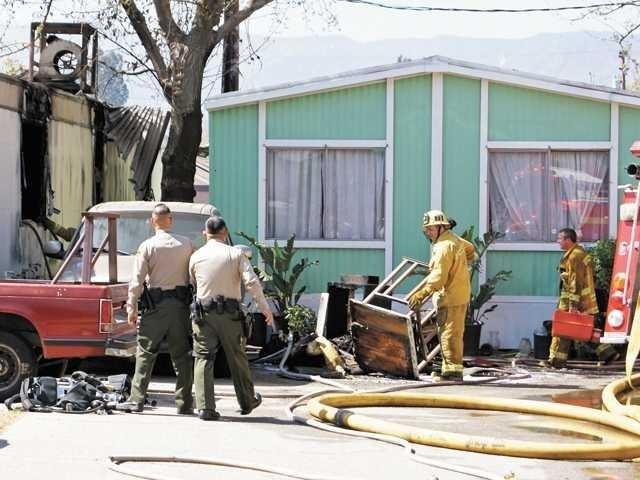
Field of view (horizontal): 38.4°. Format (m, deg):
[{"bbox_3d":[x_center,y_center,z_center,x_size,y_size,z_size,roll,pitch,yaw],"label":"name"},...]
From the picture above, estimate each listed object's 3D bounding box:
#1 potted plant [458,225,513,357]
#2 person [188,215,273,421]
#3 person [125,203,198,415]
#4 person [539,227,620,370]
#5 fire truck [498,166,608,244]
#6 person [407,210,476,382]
[{"bbox_3d":[2.763,0.929,16.014,0.687,2.356,0.873,3,6,-6],"label":"potted plant"},{"bbox_3d":[-1.119,0.936,11.416,0.906,2.431,0.987,-1,-2,-13],"label":"person"},{"bbox_3d":[-1.911,0.841,11.484,0.985,2.582,0.747,1,-1,-27],"label":"person"},{"bbox_3d":[4.182,0.967,14.778,0.929,2.173,1.120,7,7,23],"label":"person"},{"bbox_3d":[4.108,-0.647,16.569,0.246,2.111,2.727,1,-1,-41],"label":"fire truck"},{"bbox_3d":[1.809,0.787,13.656,0.784,2.446,0.983,0,0,10],"label":"person"}]
